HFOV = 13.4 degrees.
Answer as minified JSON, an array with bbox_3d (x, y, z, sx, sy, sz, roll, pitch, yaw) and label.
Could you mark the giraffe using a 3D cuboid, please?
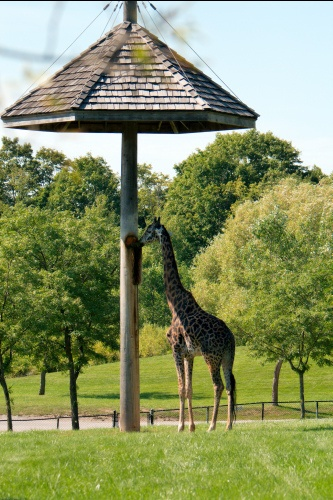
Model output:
[{"bbox_3d":[0.498,1.517,29.382,1.725,4.435,1.212,-1,-1,11],"label":"giraffe"}]
